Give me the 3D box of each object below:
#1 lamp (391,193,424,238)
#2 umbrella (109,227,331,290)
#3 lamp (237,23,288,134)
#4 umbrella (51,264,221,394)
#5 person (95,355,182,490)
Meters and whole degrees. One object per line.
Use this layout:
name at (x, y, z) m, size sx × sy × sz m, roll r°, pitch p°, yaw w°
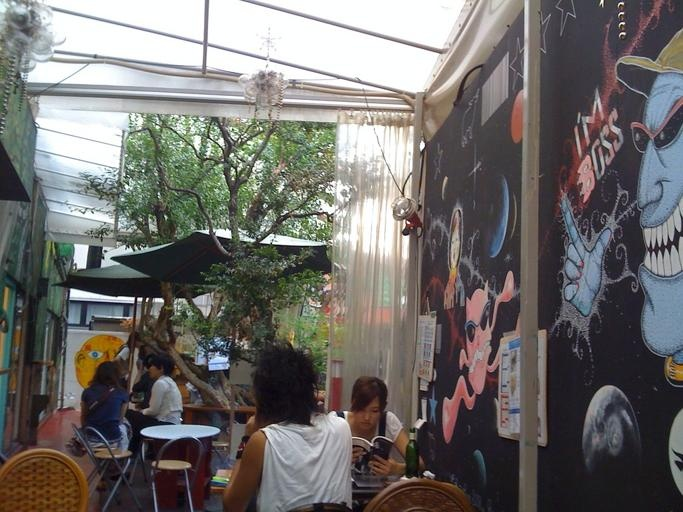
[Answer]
lamp at (0.653, -0.348, 5.469) m, size 0.240 × 0.350 × 0.385 m, roll -4°, pitch -16°, yaw 28°
umbrella at (-1.601, -0.114, 8.555) m, size 2.894 × 1.122 × 1.991 m, roll 3°, pitch -14°, yaw -2°
lamp at (-0.727, -1.629, 5.393) m, size 0.462 × 0.820 × 0.665 m, roll 5°, pitch -14°, yaw -10°
umbrella at (-3.850, 1.366, 10.551) m, size 2.584 × 1.868 × 2.775 m, roll 4°, pitch -11°, yaw -1°
person at (-2.434, 1.892, 7.215) m, size 0.792 × 1.427 × 0.503 m, roll 4°, pitch 4°, yaw -4°
